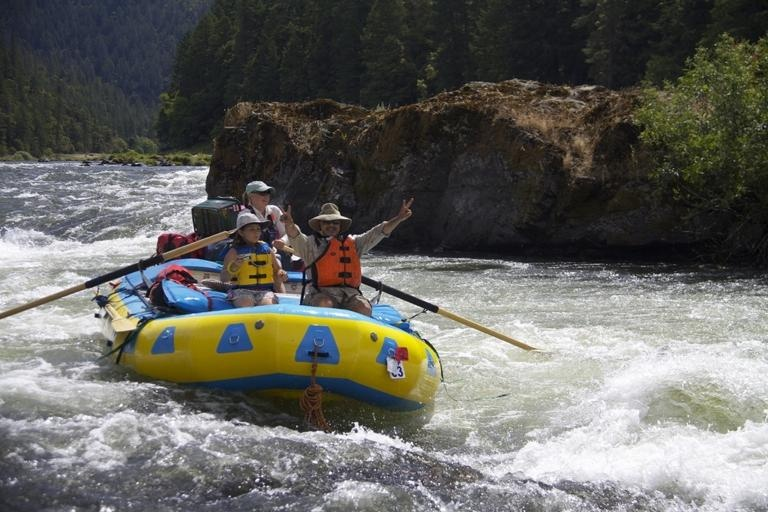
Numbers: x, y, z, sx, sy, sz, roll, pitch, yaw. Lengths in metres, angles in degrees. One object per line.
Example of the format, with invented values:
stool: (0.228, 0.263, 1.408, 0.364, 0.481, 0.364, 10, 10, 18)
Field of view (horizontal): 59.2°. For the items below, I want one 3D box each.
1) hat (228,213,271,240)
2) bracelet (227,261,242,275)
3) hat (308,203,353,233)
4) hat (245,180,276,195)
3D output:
hat: (-1.761, -0.422, 8.693, 0.408, 0.209, 0.299, -22, -18, 27)
bracelet: (-1.877, 0.154, 8.537, 0.136, 0.159, 0.062, 18, -10, -23)
hat: (-0.682, -0.549, 8.828, 0.455, 0.254, 0.513, -1, -26, -2)
hat: (-1.795, -0.997, 9.914, 0.431, 0.155, 0.272, -1, 1, -8)
